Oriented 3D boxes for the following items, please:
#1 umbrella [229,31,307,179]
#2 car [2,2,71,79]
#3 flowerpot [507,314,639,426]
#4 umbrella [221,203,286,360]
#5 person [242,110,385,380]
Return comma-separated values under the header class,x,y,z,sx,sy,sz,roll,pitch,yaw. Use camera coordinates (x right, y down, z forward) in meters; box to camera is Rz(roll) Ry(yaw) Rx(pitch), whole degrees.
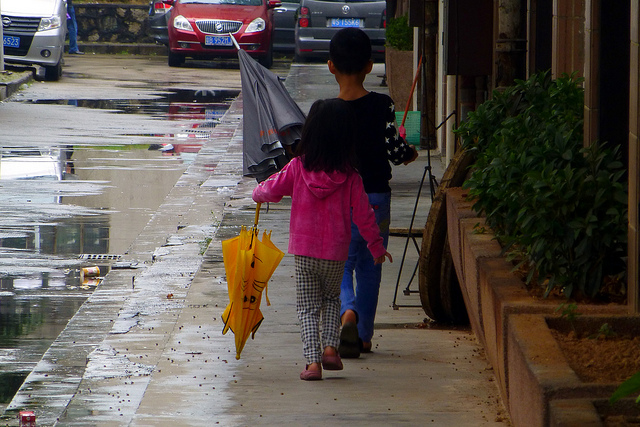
class,x,y,z,sx,sy,sz,roll,pitch,yaw
umbrella,-0.542,-1.052,14.577,0.584,1.376,0.963,-8,15,-27
car,-5.645,-3.453,27.619,1.228,1.582,1.155,-5,14,-13
flowerpot,1.700,1.127,9.139,0.882,0.704,0.926,-1,14,3
umbrella,-0.517,0.541,10.650,0.480,1.214,0.387,-4,13,-12
person,0.031,0.214,10.465,0.893,1.960,0.479,-2,13,0
